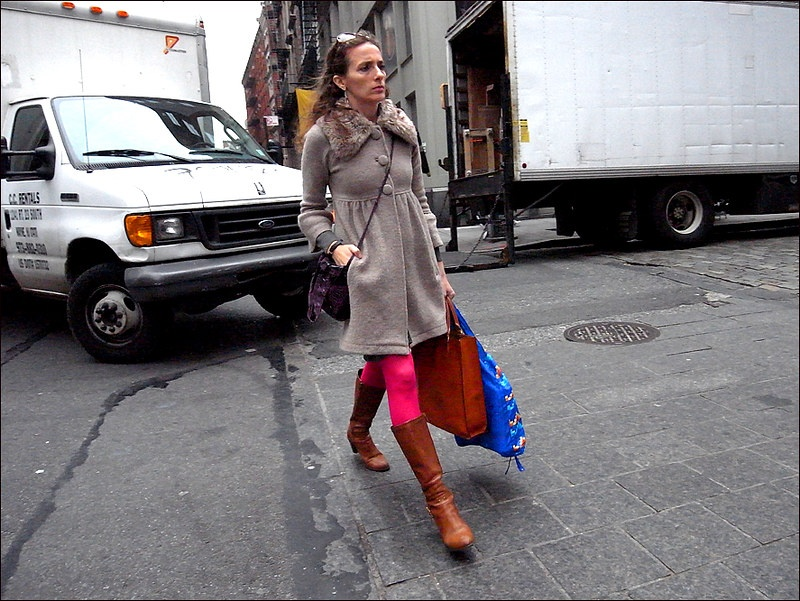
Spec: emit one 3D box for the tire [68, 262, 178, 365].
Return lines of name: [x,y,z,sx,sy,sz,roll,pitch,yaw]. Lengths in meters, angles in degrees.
tire: [-2.499,0.118,5.364,0.979,0.895,0.373,-4,5,12]

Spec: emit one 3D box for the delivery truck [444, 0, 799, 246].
delivery truck: [4.590,-3.062,11.583,7.182,3.857,3.755,-5,7,-16]

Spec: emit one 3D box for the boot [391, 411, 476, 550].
boot: [0.179,0.855,2.759,0.240,0.531,0.438,-11,15,-16]

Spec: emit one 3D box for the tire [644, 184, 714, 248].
tire: [4.622,-1.422,9.820,1.042,0.953,0.351,-10,-2,-17]

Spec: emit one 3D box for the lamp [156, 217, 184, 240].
lamp: [-2.008,-0.625,5.131,0.205,0.188,0.054,-7,12,-32]

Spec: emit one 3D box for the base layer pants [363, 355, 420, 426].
base layer pants: [-0.034,0.404,3.010,0.256,0.336,0.466,-8,14,-5]
